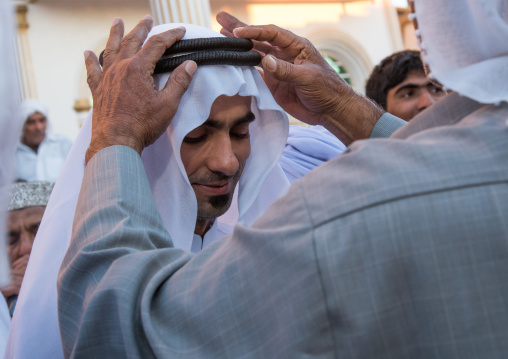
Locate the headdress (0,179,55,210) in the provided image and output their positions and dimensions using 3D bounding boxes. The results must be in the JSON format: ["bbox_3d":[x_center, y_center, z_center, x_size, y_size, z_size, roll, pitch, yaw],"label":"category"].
[{"bbox_3d":[-1.307,0.089,3.510,0.266,0.157,0.354,-1,-15,-2],"label":"headdress"}]
